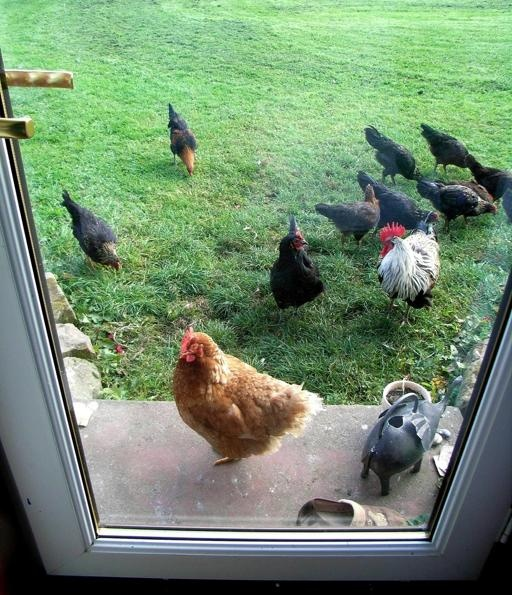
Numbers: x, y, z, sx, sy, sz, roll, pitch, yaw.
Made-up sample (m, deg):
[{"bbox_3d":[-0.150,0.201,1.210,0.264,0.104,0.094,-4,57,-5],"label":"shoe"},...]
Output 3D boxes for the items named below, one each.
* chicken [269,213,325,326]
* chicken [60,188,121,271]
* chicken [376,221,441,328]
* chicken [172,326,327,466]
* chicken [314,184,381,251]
[{"bbox_3d":[0.185,-0.141,2.244,0.238,0.409,0.207,3,31,5],"label":"chicken"},{"bbox_3d":[-0.779,-0.299,2.385,0.143,0.375,0.228,-34,10,-29],"label":"chicken"},{"bbox_3d":[0.675,-0.081,2.255,0.213,0.362,0.391,26,63,28],"label":"chicken"},{"bbox_3d":[0.005,0.251,1.710,0.565,0.433,0.296,14,45,0],"label":"chicken"},{"bbox_3d":[0.429,-0.395,2.487,0.354,0.268,0.180,1,14,-8],"label":"chicken"}]
